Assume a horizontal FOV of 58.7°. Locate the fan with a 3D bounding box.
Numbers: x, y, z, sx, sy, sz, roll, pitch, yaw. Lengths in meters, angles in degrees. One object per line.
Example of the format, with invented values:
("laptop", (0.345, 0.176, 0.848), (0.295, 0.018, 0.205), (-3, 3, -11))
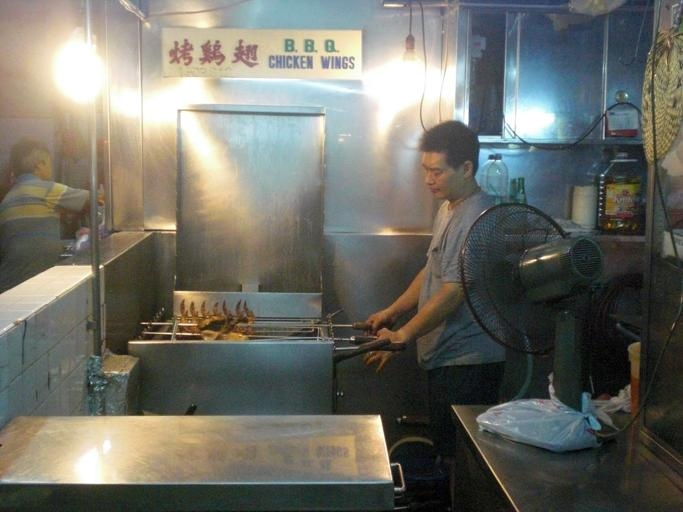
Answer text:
("fan", (0.482, 0.154, 1.500), (0.333, 0.547, 0.334), (-2, 10, -13))
